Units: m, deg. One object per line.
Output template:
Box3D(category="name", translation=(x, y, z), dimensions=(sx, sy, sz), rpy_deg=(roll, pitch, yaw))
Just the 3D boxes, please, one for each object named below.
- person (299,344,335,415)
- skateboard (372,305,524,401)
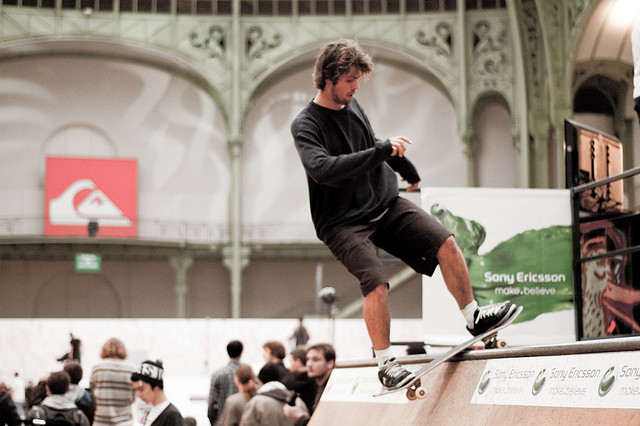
Box3D(category="person", translation=(-0.012, 2.847, 27.223), dimensions=(0.600, 1.150, 0.547), rpy_deg=(-8, -2, 18))
Box3D(category="skateboard", translation=(2.161, 2.296, 25.483), dimensions=(2.108, 0.303, 0.439), rpy_deg=(-33, -3, -1))
